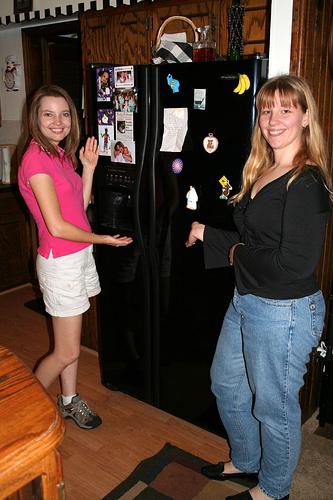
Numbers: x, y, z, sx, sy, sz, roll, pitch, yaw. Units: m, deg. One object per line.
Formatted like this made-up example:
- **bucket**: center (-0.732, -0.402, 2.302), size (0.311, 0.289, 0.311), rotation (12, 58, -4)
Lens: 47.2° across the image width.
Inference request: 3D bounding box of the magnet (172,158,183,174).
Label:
- **magnet**: center (0.049, -0.390, 1.751), size (0.057, 0.058, 0.014), rotation (10, 14, 42)

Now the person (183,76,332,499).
- **person**: center (0.358, 0.257, 1.443), size (0.302, 1.686, 0.609), rotation (-2, 13, -14)

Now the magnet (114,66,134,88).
- **magnet**: center (-0.200, -0.834, 1.852), size (0.112, 0.108, 0.028), rotation (4, 11, 37)
